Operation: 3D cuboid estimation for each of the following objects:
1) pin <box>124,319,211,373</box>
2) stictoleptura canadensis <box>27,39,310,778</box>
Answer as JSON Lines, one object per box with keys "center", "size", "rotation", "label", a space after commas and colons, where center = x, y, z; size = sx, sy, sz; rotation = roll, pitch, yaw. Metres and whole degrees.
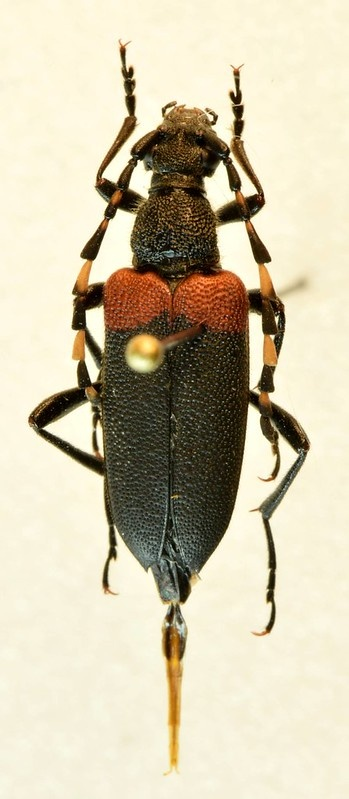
{"center": [-0.008, -0.137, 2.410], "size": [0.259, 0.156, 1.046], "rotation": [-4, 3, -2], "label": "pin"}
{"center": [0.002, -0.141, 3.124], "size": [0.942, 2.787, 0.613], "rotation": [-3, -5, -8], "label": "stictoleptura canadensis"}
